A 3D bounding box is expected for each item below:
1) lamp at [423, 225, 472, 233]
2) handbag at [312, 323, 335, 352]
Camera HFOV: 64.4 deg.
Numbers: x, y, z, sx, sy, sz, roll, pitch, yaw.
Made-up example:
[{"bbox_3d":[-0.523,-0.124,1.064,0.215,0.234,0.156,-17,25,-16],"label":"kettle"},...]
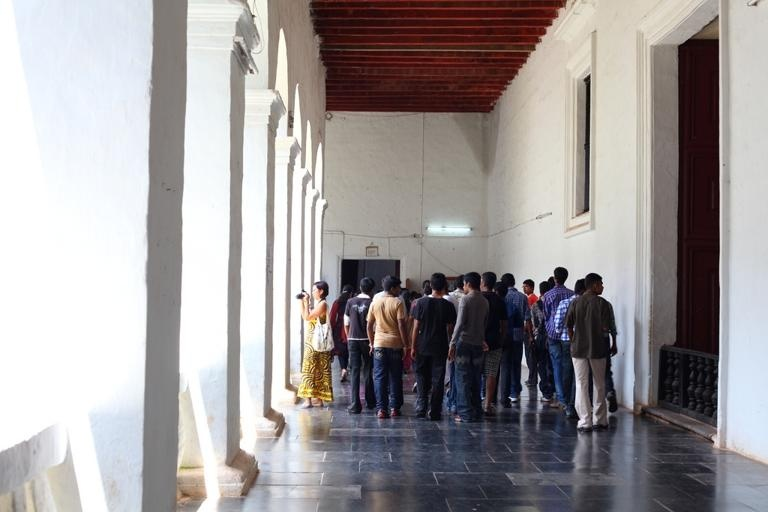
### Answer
[{"bbox_3d":[2.078,-0.873,19.813,1.450,0.258,0.367,3,35,-3],"label":"lamp"},{"bbox_3d":[-0.867,1.157,8.551,0.362,0.573,0.347,2,-9,-12],"label":"handbag"}]
